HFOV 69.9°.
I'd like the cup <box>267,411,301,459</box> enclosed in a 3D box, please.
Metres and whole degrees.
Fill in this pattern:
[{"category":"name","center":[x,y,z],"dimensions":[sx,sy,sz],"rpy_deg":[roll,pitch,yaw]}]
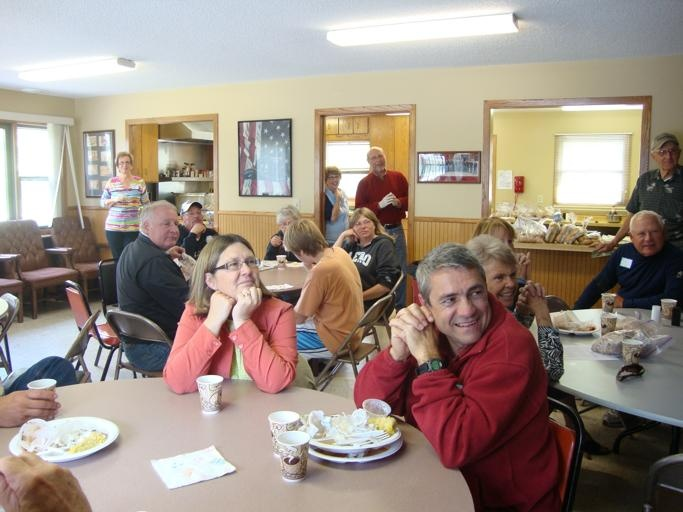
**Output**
[{"category":"cup","center":[-0.172,0.547,1.517],"dimensions":[0.104,0.108,0.106],"rpy_deg":[0,7,0]}]

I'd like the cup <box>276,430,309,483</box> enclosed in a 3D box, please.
[{"category":"cup","center":[-0.133,0.557,1.380],"dimensions":[0.106,0.112,0.110],"rpy_deg":[-1,1,0]}]

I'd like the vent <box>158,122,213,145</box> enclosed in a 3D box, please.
[{"category":"vent","center":[-2.597,-2.079,8.136],"dimensions":[0.905,0.347,0.568],"rpy_deg":[-4,12,-26]}]

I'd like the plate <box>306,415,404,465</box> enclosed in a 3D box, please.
[{"category":"plate","center":[0.049,0.565,1.517],"dimensions":[0.286,0.070,0.167],"rpy_deg":[3,11,8]}]

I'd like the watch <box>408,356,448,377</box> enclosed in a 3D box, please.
[{"category":"watch","center":[0.294,0.377,1.653],"dimensions":[0.094,0.059,0.100],"rpy_deg":[-4,-19,-4]}]

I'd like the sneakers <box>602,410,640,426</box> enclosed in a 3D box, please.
[{"category":"sneakers","center":[1.942,1.127,3.413],"dimensions":[0.128,0.061,0.183],"rpy_deg":[-1,-2,18]}]

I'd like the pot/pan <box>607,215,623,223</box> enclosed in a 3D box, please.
[{"category":"pot/pan","center":[4.059,-0.536,7.214],"dimensions":[0.177,0.161,0.227],"rpy_deg":[1,9,14]}]

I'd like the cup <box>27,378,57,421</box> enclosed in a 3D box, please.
[{"category":"cup","center":[-1.020,0.485,1.655],"dimensions":[0.111,0.093,0.120],"rpy_deg":[1,0,0]}]

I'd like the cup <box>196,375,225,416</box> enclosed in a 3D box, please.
[{"category":"cup","center":[-0.463,0.470,1.723],"dimensions":[0.116,0.124,0.119],"rpy_deg":[-2,1,0]}]

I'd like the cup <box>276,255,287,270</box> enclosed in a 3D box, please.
[{"category":"cup","center":[-0.586,0.054,4.820],"dimensions":[0.122,0.128,0.119],"rpy_deg":[-1,0,0]}]
